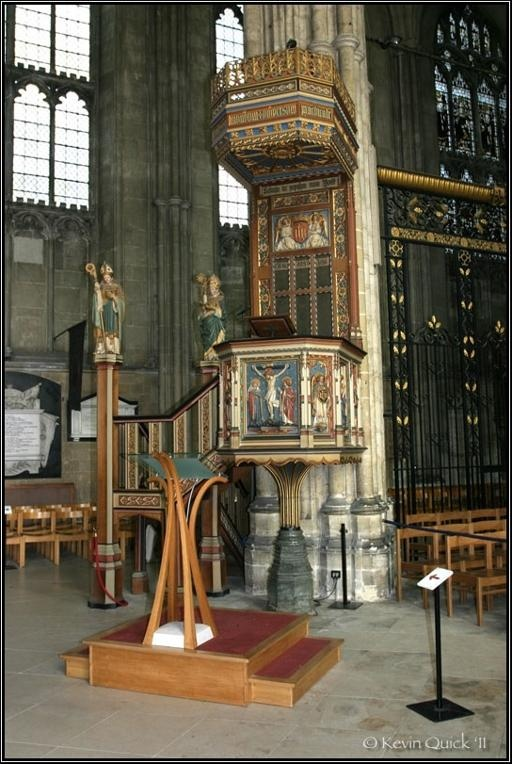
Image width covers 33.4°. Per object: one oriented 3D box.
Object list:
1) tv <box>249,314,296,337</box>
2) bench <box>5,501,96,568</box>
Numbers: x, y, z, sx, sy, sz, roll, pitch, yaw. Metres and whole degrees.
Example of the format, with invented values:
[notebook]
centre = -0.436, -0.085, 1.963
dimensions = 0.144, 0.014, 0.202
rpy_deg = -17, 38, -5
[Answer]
[tv]
centre = 0.138, -0.479, 7.407
dimensions = 0.386, 0.162, 0.536
rpy_deg = 0, -2, 1
[bench]
centre = -3.157, 2.301, 13.119
dimensions = 1.319, 0.845, 3.389
rpy_deg = 0, -2, -10
